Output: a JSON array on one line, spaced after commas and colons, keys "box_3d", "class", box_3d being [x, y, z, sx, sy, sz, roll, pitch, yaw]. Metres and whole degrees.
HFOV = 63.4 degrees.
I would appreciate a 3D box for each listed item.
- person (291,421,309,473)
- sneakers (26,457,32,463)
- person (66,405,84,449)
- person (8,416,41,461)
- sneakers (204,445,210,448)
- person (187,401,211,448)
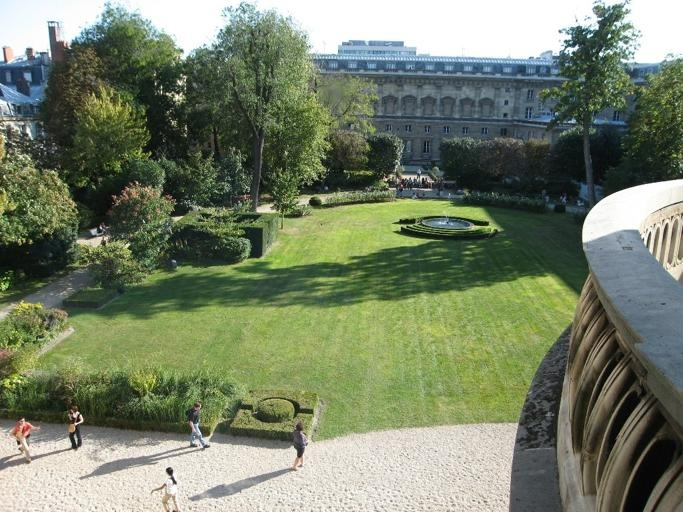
[{"box_3d": [-1.190, 4.987, 15.172, 0.392, 1.367, 1.022, -3, 11, -5], "class": "person"}, {"box_3d": [-8.536, 5.540, 15.171, 0.129, 0.216, 0.132, -4, 10, -32], "class": "sneakers"}, {"box_3d": [-7.555, 4.835, 15.755, 0.354, 1.218, 0.423, -8, 13, -27], "class": "person"}, {"box_3d": [-8.898, 4.912, 15.552, 0.565, 1.197, 1.513, -9, 13, -32], "class": "person"}, {"box_3d": [-3.866, 5.435, 15.909, 0.118, 0.119, 0.073, -2, 18, -10], "class": "sneakers"}, {"box_3d": [-4.202, 4.986, 16.224, 0.752, 1.503, 0.767, -1, 22, -10], "class": "person"}]
